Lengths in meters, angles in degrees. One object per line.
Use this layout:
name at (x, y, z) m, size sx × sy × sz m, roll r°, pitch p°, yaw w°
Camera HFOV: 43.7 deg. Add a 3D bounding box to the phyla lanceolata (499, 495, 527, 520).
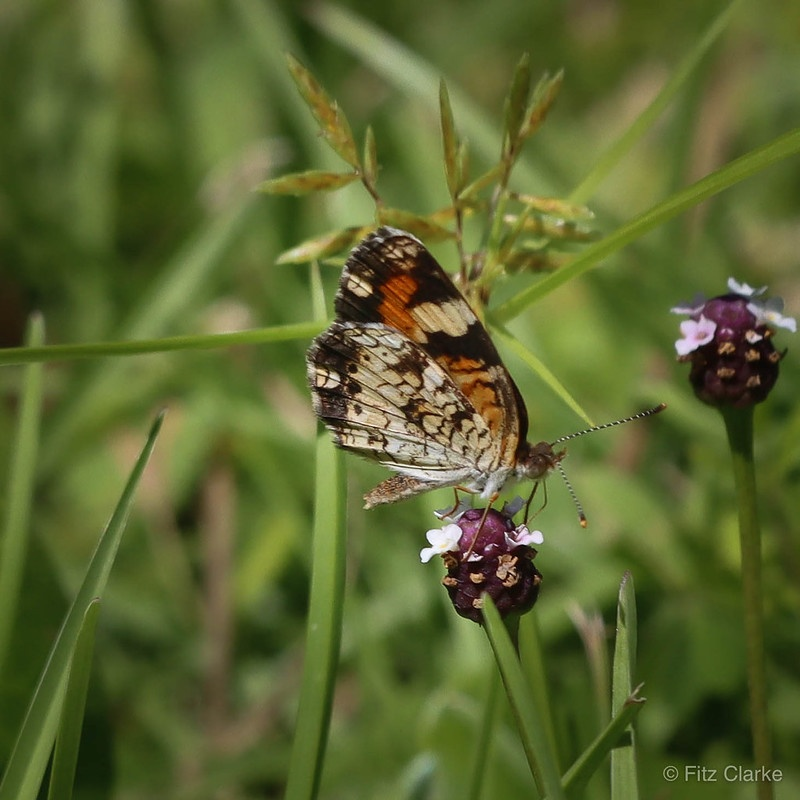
phyla lanceolata at (0.275, 0.269, 2.449) m, size 0.066 × 0.044 × 0.017 m, roll -49°, pitch -18°, yaw 18°
